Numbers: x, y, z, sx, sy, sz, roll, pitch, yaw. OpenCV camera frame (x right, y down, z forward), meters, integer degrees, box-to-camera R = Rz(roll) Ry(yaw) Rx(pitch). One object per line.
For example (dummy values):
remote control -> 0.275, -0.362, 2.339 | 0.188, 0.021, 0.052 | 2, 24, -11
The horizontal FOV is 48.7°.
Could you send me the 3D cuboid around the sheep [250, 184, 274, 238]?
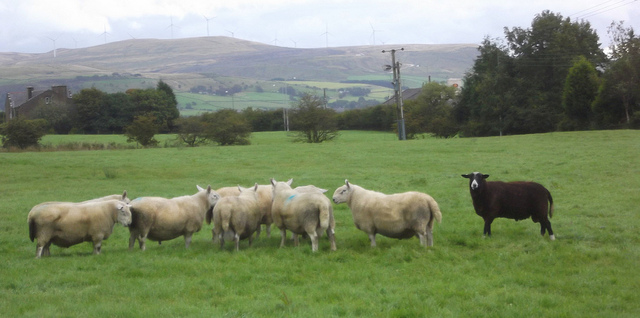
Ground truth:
sheep -> -7.638, 6.591, 89.056 | 2.639, 6.060, 2.751 | 1, 0, 6
